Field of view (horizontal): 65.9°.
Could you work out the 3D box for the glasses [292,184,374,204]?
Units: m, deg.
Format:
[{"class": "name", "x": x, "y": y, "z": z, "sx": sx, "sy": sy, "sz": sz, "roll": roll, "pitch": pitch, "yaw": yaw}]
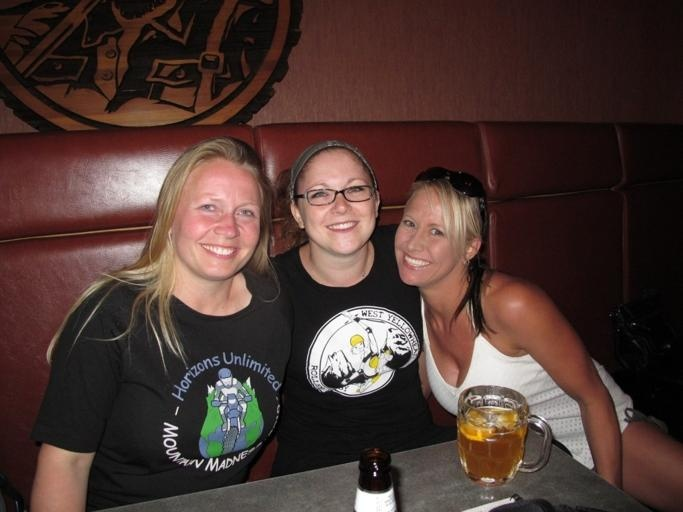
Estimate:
[{"class": "glasses", "x": -0.025, "y": -0.210, "z": 1.826, "sx": 0.268, "sy": 0.068, "sz": 0.089, "roll": -2, "pitch": 15, "yaw": -6}]
